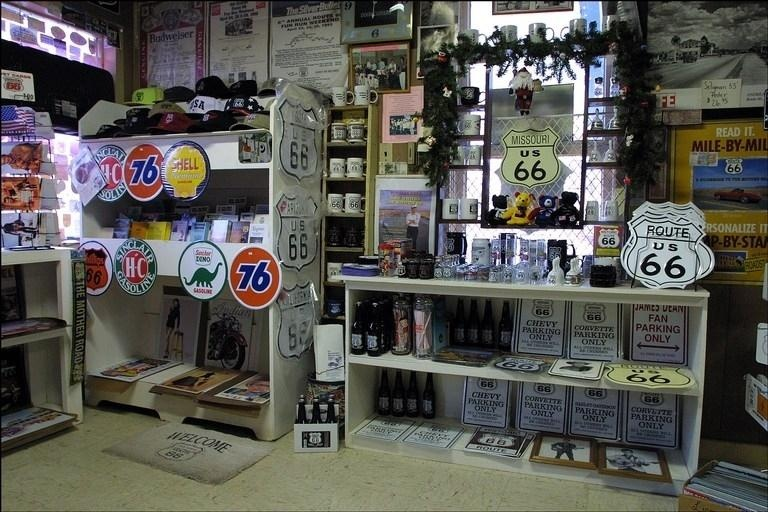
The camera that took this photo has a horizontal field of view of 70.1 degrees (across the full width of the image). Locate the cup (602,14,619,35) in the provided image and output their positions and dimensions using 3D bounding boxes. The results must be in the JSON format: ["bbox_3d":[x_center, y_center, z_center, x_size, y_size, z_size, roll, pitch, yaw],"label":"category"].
[{"bbox_3d":[1.711,-1.727,4.093,0.096,0.142,0.101,1,3,0],"label":"cup"}]

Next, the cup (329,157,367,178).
[{"bbox_3d":[-0.328,-0.766,4.842,0.315,0.174,0.125,1,3,-2],"label":"cup"}]

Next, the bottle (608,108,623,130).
[{"bbox_3d":[1.744,-1.034,4.122,0.067,0.173,0.213,2,3,11],"label":"bottle"}]

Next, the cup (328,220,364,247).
[{"bbox_3d":[-0.336,-0.192,4.982,0.389,0.198,0.254,5,4,5],"label":"cup"}]

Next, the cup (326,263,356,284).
[{"bbox_3d":[-0.408,0.156,4.765,0.200,0.256,0.191,-1,4,0],"label":"cup"}]

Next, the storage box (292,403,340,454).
[{"bbox_3d":[-0.488,1.295,4.243,0.393,0.357,0.360,0,6,-1],"label":"storage box"}]

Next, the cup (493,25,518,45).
[{"bbox_3d":[0.971,-1.704,4.283,0.158,0.111,0.155,0,8,0],"label":"cup"}]

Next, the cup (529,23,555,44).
[{"bbox_3d":[1.216,-1.705,4.270,0.220,0.148,0.135,4,8,21],"label":"cup"}]

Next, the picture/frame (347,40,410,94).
[{"bbox_3d":[-0.023,-1.682,4.895,0.524,0.353,0.040,4,9,21],"label":"picture/frame"}]

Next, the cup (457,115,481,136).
[{"bbox_3d":[0.697,-1.041,4.472,0.190,0.174,0.162,2,2,-2],"label":"cup"}]

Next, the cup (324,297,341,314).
[{"bbox_3d":[-0.427,0.447,4.859,0.137,0.131,0.137,2,-2,0],"label":"cup"}]

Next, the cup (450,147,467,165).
[{"bbox_3d":[0.627,-0.813,4.508,0.154,0.168,0.152,0,10,0],"label":"cup"}]

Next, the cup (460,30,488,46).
[{"bbox_3d":[0.715,-1.713,4.341,0.208,0.135,0.129,2,-9,5],"label":"cup"}]

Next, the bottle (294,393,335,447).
[{"bbox_3d":[-0.525,1.275,4.220,0.392,0.420,0.236,0,-5,-4],"label":"bottle"}]

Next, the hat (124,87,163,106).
[{"bbox_3d":[-2.282,-1.508,5.333,0.257,0.125,0.356,-5,12,-8],"label":"hat"}]

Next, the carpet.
[{"bbox_3d":[-1.480,1.492,4.195,1.125,0.147,0.546,2,4,22],"label":"carpet"}]

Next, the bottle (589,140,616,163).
[{"bbox_3d":[1.702,-0.800,4.235,0.196,0.176,0.065,2,7,24],"label":"bottle"}]

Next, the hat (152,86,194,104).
[{"bbox_3d":[-1.945,-1.544,5.170,0.228,0.108,0.312,0,18,-5],"label":"hat"}]

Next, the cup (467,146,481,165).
[{"bbox_3d":[0.741,-0.813,4.482,0.121,0.147,0.052,2,4,20],"label":"cup"}]

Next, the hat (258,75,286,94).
[{"bbox_3d":[-0.938,-1.451,4.627,0.218,0.121,0.342,-7,14,-22],"label":"hat"}]

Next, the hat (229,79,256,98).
[{"bbox_3d":[-1.249,-1.474,4.869,0.165,0.088,0.231,1,15,6],"label":"hat"}]

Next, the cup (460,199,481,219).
[{"bbox_3d":[0.695,-0.374,4.439,0.164,0.164,0.160,0,6,0],"label":"cup"}]

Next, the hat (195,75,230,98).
[{"bbox_3d":[-1.576,-1.529,4.990,0.289,0.133,0.189,-14,23,-43],"label":"hat"}]

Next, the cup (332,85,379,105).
[{"bbox_3d":[-0.263,-1.396,4.857,0.474,0.228,0.170,5,10,10],"label":"cup"}]

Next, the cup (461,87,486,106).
[{"bbox_3d":[0.730,-1.277,4.433,0.176,0.127,0.131,1,6,9],"label":"cup"}]

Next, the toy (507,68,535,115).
[{"bbox_3d":[1.080,-1.268,4.256,0.189,0.354,0.096,2,3,14],"label":"toy"}]

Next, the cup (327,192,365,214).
[{"bbox_3d":[-0.346,-0.448,4.805,0.303,0.170,0.102,1,3,-6],"label":"cup"}]

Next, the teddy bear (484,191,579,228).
[{"bbox_3d":[1.162,-0.356,4.263,0.714,0.276,0.208,1,3,0],"label":"teddy bear"}]

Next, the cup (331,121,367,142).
[{"bbox_3d":[-0.309,-1.079,4.873,0.289,0.140,0.167,0,3,21],"label":"cup"}]

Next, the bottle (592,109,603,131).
[{"bbox_3d":[1.634,-1.017,4.186,0.081,0.135,0.077,1,3,0],"label":"bottle"}]

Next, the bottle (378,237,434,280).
[{"bbox_3d":[0.181,0.026,4.272,0.441,0.283,0.244,1,3,8],"label":"bottle"}]
